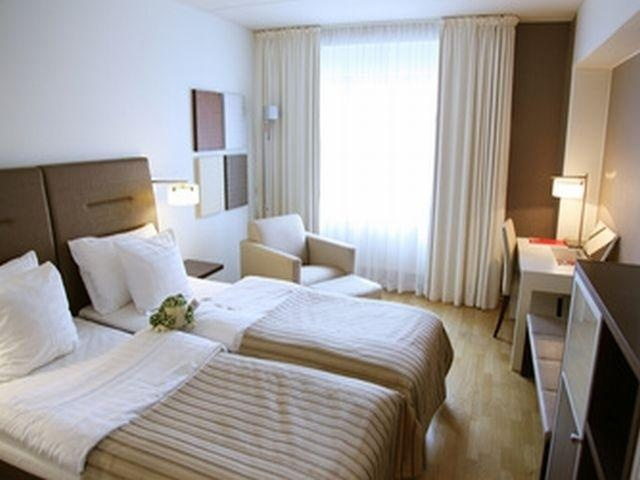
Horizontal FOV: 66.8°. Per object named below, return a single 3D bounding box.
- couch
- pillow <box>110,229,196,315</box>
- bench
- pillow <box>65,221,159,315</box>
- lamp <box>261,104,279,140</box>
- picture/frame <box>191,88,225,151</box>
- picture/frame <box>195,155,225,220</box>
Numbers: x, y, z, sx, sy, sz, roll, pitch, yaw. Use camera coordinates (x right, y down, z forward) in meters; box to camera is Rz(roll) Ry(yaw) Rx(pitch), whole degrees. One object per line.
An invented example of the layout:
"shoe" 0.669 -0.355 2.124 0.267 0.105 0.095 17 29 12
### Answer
"couch" -0.125 0.302 4.986 1.260 1.064 0.973 8 13 40
"pillow" -1.276 0.198 3.994 0.449 0.833 0.810 3 9 34
"bench" 1.488 1.050 3.251 0.231 0.416 0.851 3 20 17
"pillow" -1.542 0.229 3.577 0.144 0.543 0.554 -10 6 42
"lamp" -0.570 -1.376 5.709 0.197 0.420 0.273 -4 14 -8
"picture/frame" -1.177 -1.248 5.006 0.054 0.648 0.589 3 11 22
"picture/frame" -1.173 -0.566 5.089 0.066 0.764 0.524 5 14 20
